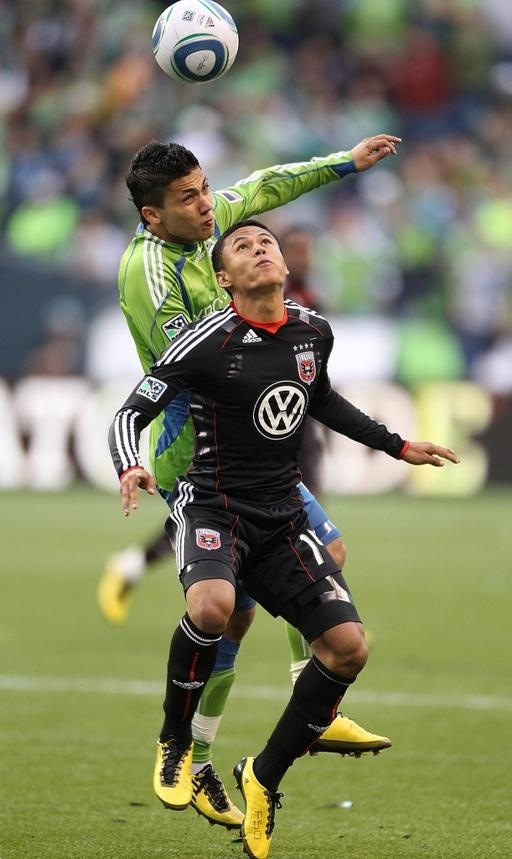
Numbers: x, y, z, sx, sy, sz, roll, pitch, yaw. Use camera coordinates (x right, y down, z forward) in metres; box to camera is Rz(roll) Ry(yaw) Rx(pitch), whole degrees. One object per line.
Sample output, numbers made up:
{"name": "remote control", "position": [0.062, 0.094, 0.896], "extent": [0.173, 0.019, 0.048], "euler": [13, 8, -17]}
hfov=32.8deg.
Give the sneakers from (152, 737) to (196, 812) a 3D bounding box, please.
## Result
{"name": "sneakers", "position": [-0.207, 0.863, 2.149], "extent": [0.076, 0.084, 0.204], "euler": [-1, 38, -3]}
